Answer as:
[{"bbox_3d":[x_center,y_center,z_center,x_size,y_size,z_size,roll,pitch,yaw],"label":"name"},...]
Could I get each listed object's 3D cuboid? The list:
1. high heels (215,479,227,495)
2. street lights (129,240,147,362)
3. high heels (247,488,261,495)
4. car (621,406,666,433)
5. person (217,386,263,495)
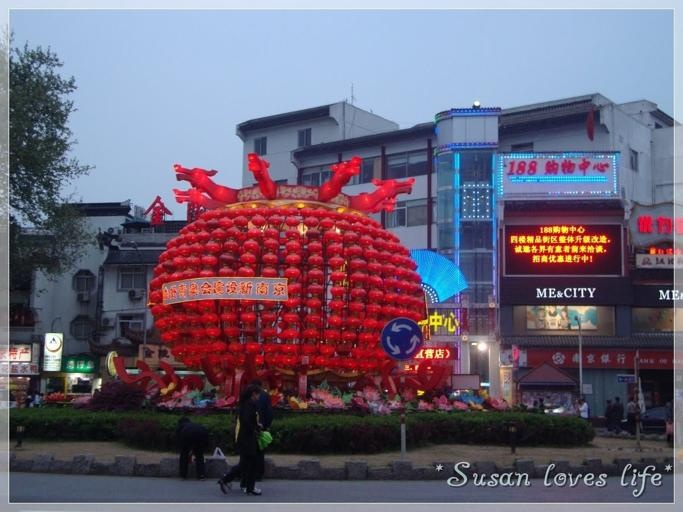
[{"bbox_3d":[-2.743,5.381,26.234,0.155,0.419,0.176,-9,3,-44],"label":"high heels"},{"bbox_3d":[-10.818,2.577,59.579,0.817,6.298,0.605,-4,-4,13],"label":"street lights"},{"bbox_3d":[-2.032,5.508,26.155,0.370,0.138,0.207,5,-2,-5],"label":"high heels"},{"bbox_3d":[11.504,6.200,42.392,1.618,0.724,0.877,0,-10,16],"label":"car"},{"bbox_3d":[-2.371,4.365,26.400,0.970,2.421,0.800,2,-9,-10],"label":"person"}]
